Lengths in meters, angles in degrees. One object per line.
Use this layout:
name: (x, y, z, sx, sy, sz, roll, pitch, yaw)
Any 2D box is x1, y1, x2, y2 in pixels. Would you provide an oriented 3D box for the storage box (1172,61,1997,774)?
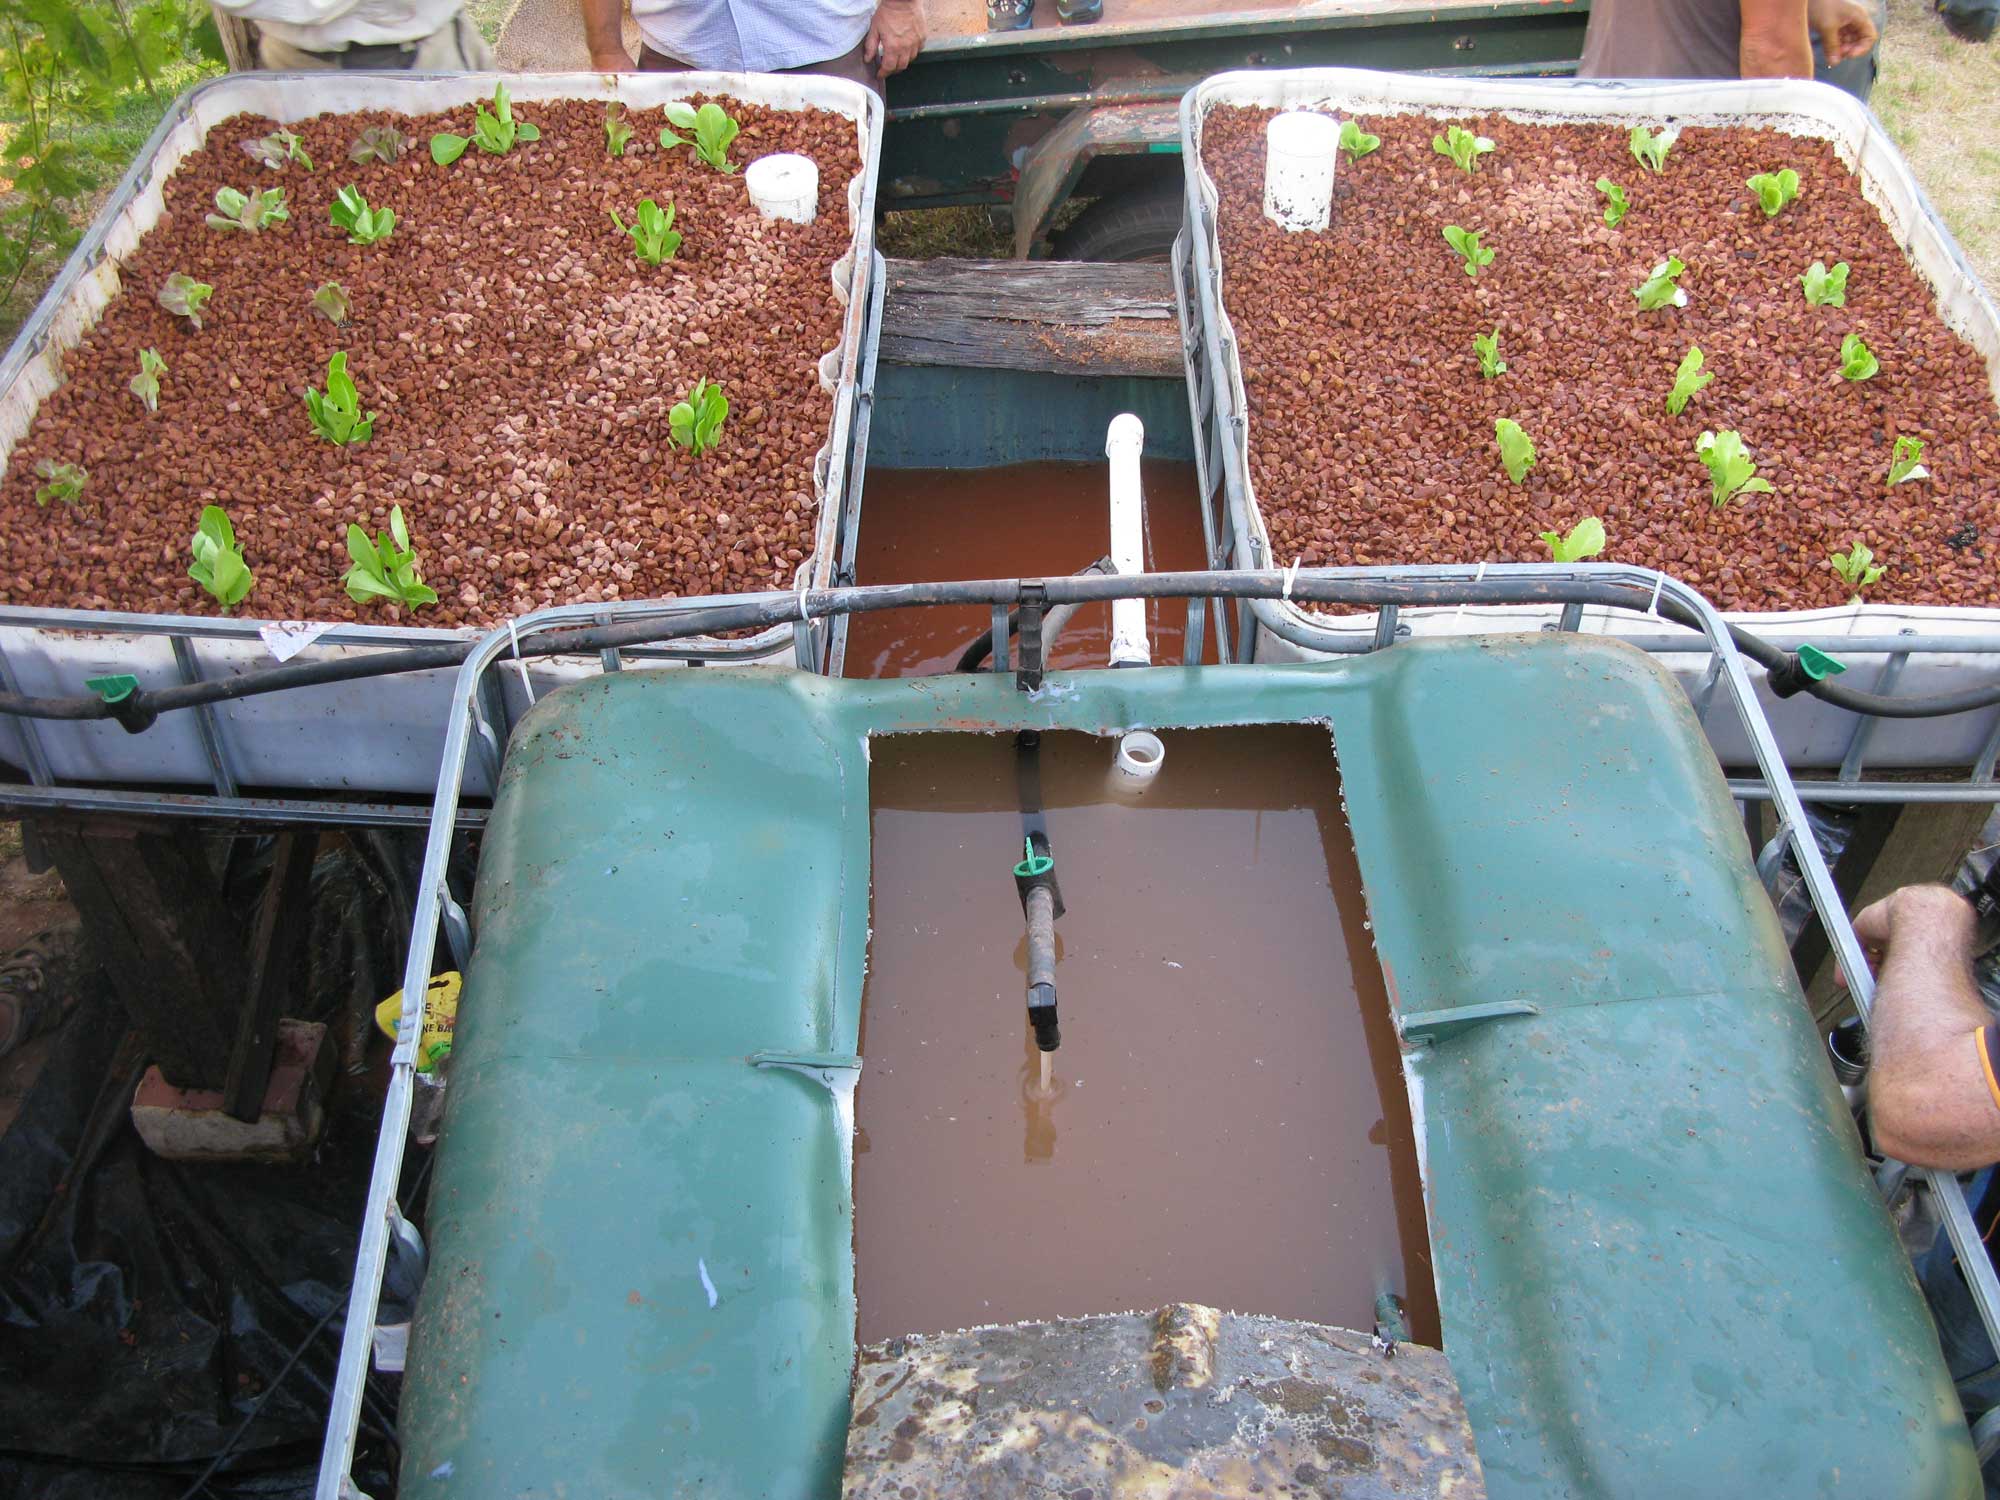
storage box: (1.998, -1.339, 5.437, 2.664, 0.983, 3.293, -2, 53, 0)
